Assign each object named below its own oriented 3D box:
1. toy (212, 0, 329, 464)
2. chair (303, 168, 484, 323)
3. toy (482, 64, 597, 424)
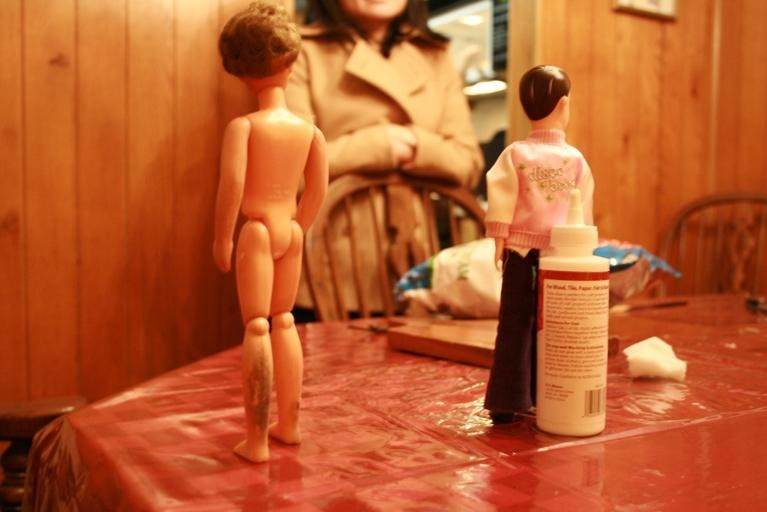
[{"bbox_3d":[-0.153,-0.038,0.902,0.098,0.577,0.141,2,5,33],"label":"toy"},{"bbox_3d":[0.002,-0.062,2.141,0.477,0.598,0.435,-3,6,-8],"label":"chair"},{"bbox_3d":[0.204,-0.018,0.998,0.142,0.494,0.068,-6,13,-36],"label":"toy"}]
